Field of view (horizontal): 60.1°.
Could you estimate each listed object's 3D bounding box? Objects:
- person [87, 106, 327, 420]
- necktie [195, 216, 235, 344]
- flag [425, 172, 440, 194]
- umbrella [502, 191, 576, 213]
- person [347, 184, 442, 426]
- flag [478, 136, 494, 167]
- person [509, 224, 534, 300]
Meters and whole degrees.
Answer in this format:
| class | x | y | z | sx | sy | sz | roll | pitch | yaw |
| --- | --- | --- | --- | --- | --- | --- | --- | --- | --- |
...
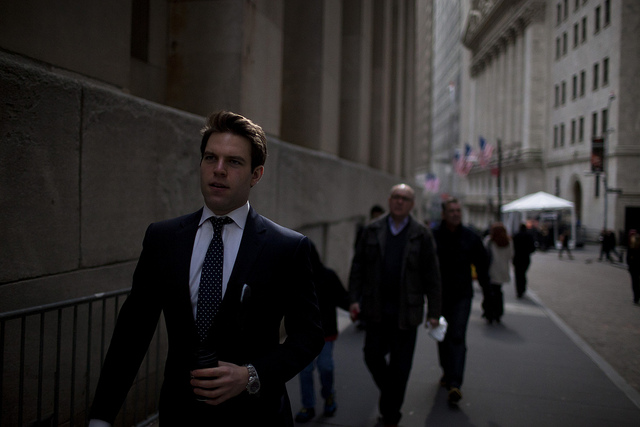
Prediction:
| class | x | y | z | sx | sy | sz | roll | pitch | yaw |
| --- | --- | --- | --- | --- | --- | --- | --- | --- | --- |
| person | -0.719 | 0.358 | 3.908 | 1.499 | 2.218 | 0.540 | 2 | 1 | 4 |
| necktie | -0.743 | 0.449 | 3.893 | 0.210 | 0.868 | 0.212 | 1 | 1 | 5 |
| flag | 1.562 | -0.431 | 7.578 | 0.085 | 0.282 | 0.220 | -4 | 15 | -27 |
| umbrella | 2.120 | -0.118 | 5.307 | 0.594 | 0.188 | 0.088 | 2 | 1 | 41 |
| person | 0.822 | 0.944 | 6.095 | 1.036 | 1.974 | 0.635 | 2 | 1 | 4 |
| flag | 1.703 | -0.647 | 5.755 | 0.093 | 0.261 | 0.268 | 1 | 1 | -13 |
| person | 2.105 | 0.533 | 5.795 | 0.211 | 0.712 | 0.908 | 2 | 1 | 19 |
